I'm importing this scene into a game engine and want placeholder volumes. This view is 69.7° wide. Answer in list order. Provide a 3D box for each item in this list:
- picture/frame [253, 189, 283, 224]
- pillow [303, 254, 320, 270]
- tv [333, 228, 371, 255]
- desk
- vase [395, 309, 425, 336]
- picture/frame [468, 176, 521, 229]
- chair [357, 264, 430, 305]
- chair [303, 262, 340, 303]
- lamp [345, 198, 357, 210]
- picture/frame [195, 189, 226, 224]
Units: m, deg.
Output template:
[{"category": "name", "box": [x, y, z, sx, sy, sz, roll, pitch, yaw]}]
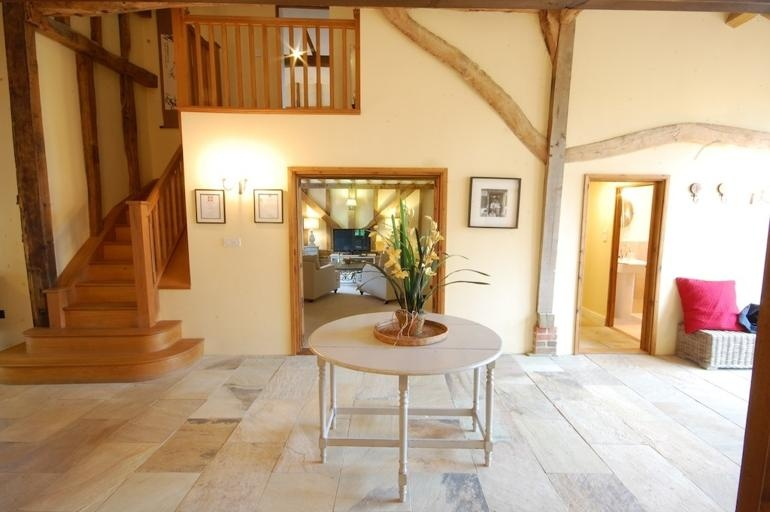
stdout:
[{"category": "picture/frame", "box": [-1.545, -0.673, 7.232, 0.474, 0.503, 0.023, 0, 4, -4]}, {"category": "pillow", "box": [-1.308, 0.102, 9.797, 0.350, 0.253, 0.235, 2, 11, 9]}, {"category": "tv", "box": [-0.797, -0.334, 12.941, 0.673, 0.417, 0.166, 0, 5, -1]}, {"category": "desk", "box": [0.256, 1.437, 6.269, 1.993, 1.143, 1.897, 0, 8, 1]}, {"category": "vase", "box": [0.249, 0.671, 5.624, 0.283, 0.186, 0.251, -1, 3, -10]}, {"category": "picture/frame", "box": [1.417, -0.733, 7.272, 0.717, 0.657, 0.031, 2, 5, -4]}, {"category": "chair", "box": [-0.159, 0.517, 10.293, 0.641, 0.695, 1.110, 2, 4, -16]}, {"category": "chair", "box": [-1.185, 0.462, 10.135, 0.523, 0.579, 0.704, 3, 9, 23]}, {"category": "lamp", "box": [-0.821, -1.270, 13.533, 0.265, 0.243, 0.125, 3, 5, 10]}, {"category": "picture/frame", "box": [-2.285, -0.648, 7.220, 0.395, 0.432, 0.020, -5, 10, -41]}]
